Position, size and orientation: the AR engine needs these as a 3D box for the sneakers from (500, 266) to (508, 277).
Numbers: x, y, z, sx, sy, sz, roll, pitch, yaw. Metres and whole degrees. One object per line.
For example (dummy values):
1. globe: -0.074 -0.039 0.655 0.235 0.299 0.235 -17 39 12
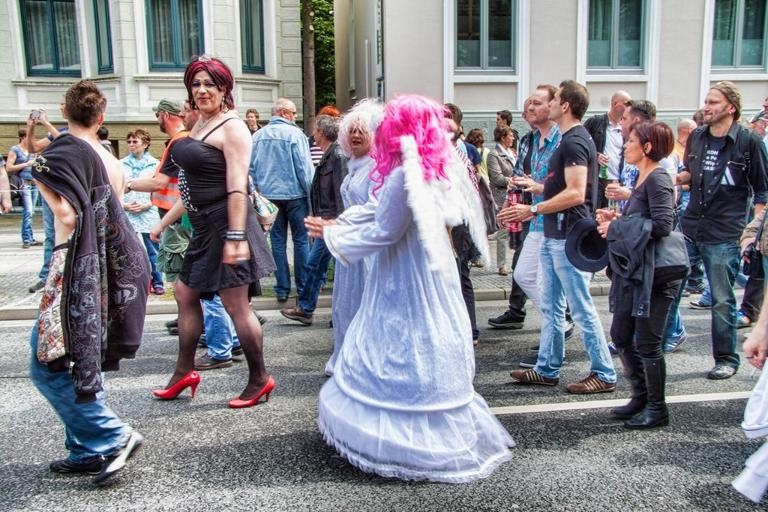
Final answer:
1. sneakers: 1.799 0.242 10.827 0.075 0.123 0.187 -3 -8 -9

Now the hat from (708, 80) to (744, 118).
1. hat: 3.443 -1.572 7.242 0.388 0.393 0.302 1 1 14

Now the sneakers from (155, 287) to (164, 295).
1. sneakers: -3.003 0.470 9.598 0.072 0.061 0.148 -2 -6 -27

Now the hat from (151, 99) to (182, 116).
1. hat: -2.474 -1.638 8.078 0.344 0.169 0.242 17 17 27

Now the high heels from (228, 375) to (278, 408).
1. high heels: -1.183 1.230 6.531 0.451 0.212 0.211 -1 6 -17

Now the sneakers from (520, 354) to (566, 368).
1. sneakers: 1.637 1.079 7.298 0.498 0.183 0.176 1 4 1

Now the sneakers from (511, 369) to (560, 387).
1. sneakers: 1.427 1.139 6.902 0.477 0.177 0.166 6 0 12

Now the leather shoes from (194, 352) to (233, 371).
1. leather shoes: -1.726 1.083 7.256 0.370 0.163 0.141 4 -5 -14

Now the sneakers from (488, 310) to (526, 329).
1. sneakers: 1.472 0.777 8.618 0.453 0.213 0.178 4 0 -2

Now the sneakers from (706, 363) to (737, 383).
1. sneakers: 3.234 1.130 6.909 0.264 0.098 0.137 -1 -1 -26

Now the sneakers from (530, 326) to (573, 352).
1. sneakers: 1.676 0.842 7.173 0.445 0.170 0.136 -38 14 -19
